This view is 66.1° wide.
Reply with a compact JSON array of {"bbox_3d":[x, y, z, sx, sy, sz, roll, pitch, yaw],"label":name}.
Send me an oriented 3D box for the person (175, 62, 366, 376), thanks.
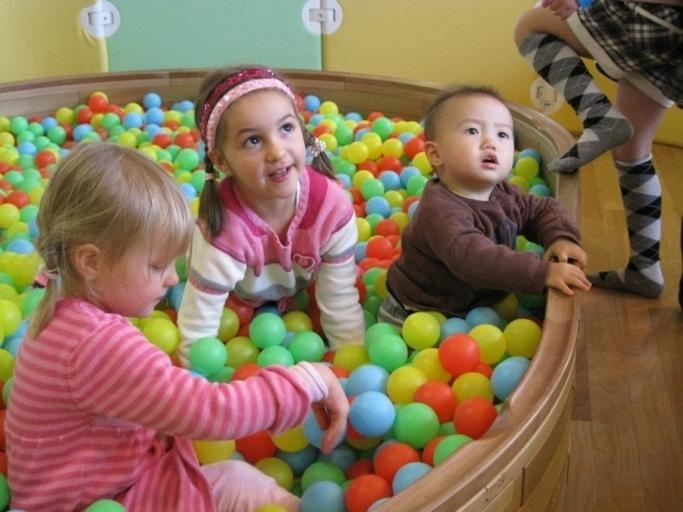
[{"bbox_3d":[-0.193,-0.085,1.342,0.468,0.758,0.476,-13,38,-19],"label":"person"}]
